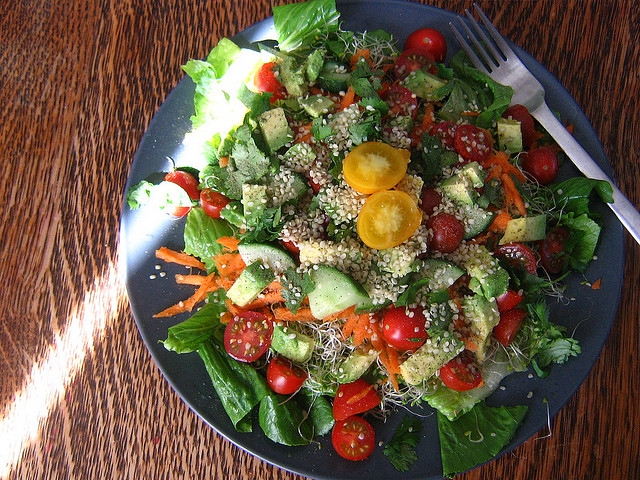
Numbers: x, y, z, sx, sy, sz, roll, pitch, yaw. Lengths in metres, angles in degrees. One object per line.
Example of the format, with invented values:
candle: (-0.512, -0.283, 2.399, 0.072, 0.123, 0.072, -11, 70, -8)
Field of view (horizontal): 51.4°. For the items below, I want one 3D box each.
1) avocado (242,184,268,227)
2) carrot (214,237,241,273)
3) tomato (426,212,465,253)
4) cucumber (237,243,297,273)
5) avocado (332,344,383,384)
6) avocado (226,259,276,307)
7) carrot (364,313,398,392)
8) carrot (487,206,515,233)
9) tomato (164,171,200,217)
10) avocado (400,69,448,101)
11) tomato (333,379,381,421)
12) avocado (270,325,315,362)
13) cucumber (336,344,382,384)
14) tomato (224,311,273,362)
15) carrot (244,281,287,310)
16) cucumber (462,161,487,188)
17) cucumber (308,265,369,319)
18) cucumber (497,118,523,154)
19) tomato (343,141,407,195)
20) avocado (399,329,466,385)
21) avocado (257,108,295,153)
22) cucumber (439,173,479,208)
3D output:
avocado: (-0.380, -0.199, 3.928, 0.133, 0.074, 0.237, -2, 84, 2)
carrot: (-0.551, 0.088, 4.072, 0.132, 0.060, 0.216, 9, 94, 13)
tomato: (0.739, -0.037, 3.968, 0.174, 0.116, 0.238, -1, 88, -1)
cucumber: (-0.315, 0.108, 3.960, 0.356, 0.066, 0.141, 16, 85, 3)
avocado: (0.224, 0.748, 4.035, 0.347, 0.093, 0.181, -40, 35, -8)
avocado: (-0.417, 0.270, 4.029, 0.183, 0.147, 0.339, 41, 102, 1)
carrot: (0.345, 0.616, 4.012, 0.091, 0.144, 0.613, -20, 88, -17)
carrot: (1.072, -0.113, 3.990, 0.116, 0.050, 0.132, 15, 85, 3)
tomato: (-0.861, -0.305, 4.193, 0.193, 0.092, 0.285, -13, 84, 1)
avocado: (0.629, -0.961, 4.089, 0.213, 0.199, 0.249, -22, 35, -32)
tomato: (0.202, 0.954, 4.018, 0.297, 0.169, 0.199, -22, 83, 0)
avocado: (-0.166, 0.648, 4.101, 0.238, 0.098, 0.208, 16, 91, 12)
cucumber: (0.204, 0.766, 3.974, 0.167, 0.075, 0.311, 28, 87, 11)
tomato: (-0.437, 0.565, 4.097, 0.251, 0.304, 0.300, -19, 113, -28)
carrot: (-0.334, 0.346, 4.033, 0.242, 0.076, 0.149, -26, 98, 13)
cucumber: (0.906, -0.393, 3.922, 0.158, 0.079, 0.116, 41, 87, 5)
cucumber: (0.089, 0.266, 3.875, 0.343, 0.112, 0.297, -18, 84, 0)
cucumber: (1.157, -0.644, 4.063, 0.157, 0.099, 0.210, -3, 84, 2)
tomato: (0.318, -0.418, 3.861, 0.372, 0.073, 0.303, -1, 85, 2)
avocado: (0.668, 0.735, 4.008, 0.423, 0.144, 0.231, -32, 35, -11)
avocado: (-0.250, -0.686, 4.054, 0.228, 0.239, 0.251, -25, 40, -34)
cucumber: (0.802, -0.286, 3.905, 0.169, 0.080, 0.201, 15, 115, 24)
